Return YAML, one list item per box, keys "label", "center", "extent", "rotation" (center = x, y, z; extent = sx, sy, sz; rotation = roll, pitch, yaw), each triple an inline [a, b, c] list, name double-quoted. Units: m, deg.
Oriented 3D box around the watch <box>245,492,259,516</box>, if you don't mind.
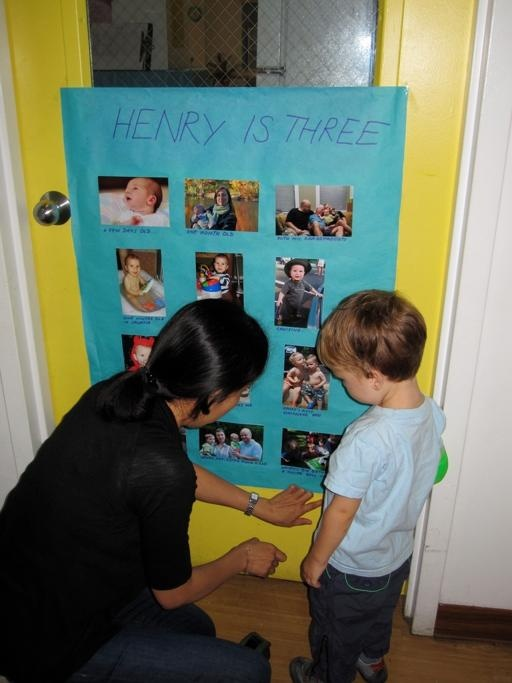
- label: "watch"
  center: [-0.011, 0.413, 1.355]
  extent: [0.030, 0.047, 0.049]
  rotation: [18, -7, 15]
